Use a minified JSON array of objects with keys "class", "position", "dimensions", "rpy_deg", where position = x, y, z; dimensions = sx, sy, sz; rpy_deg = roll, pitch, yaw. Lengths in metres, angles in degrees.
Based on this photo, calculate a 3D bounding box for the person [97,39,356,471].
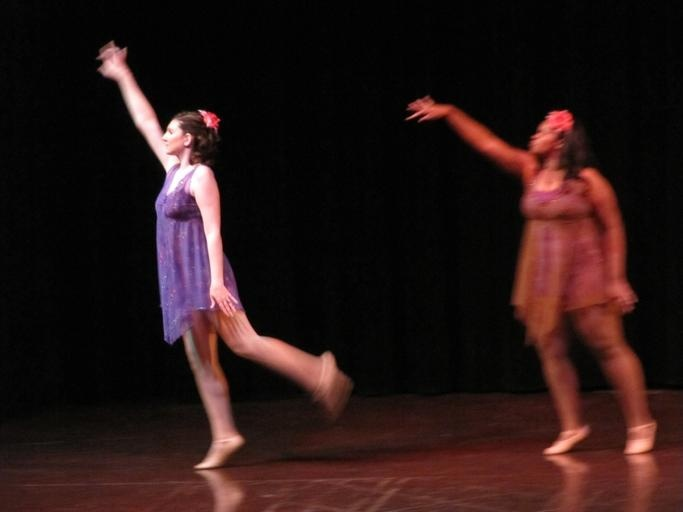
[{"class":"person","position":[-0.553,-0.067,3.027],"dimensions":[0.983,1.798,0.378],"rpy_deg":[-6,0,27]}]

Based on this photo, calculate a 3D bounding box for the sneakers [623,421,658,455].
[{"class":"sneakers","position":[1.274,0.754,2.991],"dimensions":[0.211,0.136,0.095],"rpy_deg":[-5,-1,-41]}]

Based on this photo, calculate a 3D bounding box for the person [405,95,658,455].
[{"class":"person","position":[0.937,0.085,3.081],"dimensions":[0.648,1.548,0.212],"rpy_deg":[-6,0,10]}]
